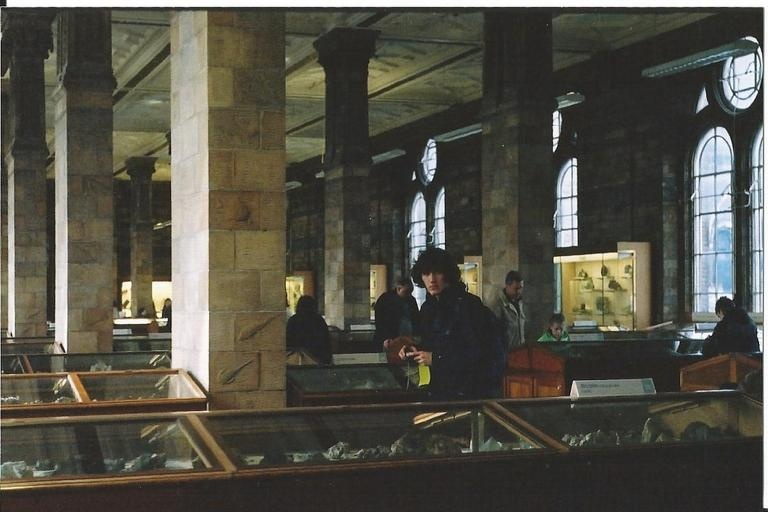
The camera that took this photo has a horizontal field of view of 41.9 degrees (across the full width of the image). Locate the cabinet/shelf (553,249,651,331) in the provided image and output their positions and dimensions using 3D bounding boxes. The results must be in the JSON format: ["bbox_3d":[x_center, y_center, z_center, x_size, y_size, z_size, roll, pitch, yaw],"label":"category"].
[{"bbox_3d":[4.622,0.745,20.783,1.914,1.652,0.634,-1,-4,11],"label":"cabinet/shelf"}]
